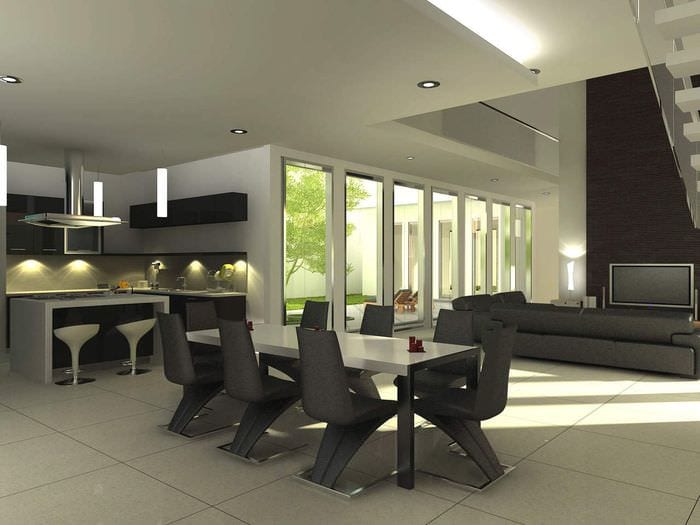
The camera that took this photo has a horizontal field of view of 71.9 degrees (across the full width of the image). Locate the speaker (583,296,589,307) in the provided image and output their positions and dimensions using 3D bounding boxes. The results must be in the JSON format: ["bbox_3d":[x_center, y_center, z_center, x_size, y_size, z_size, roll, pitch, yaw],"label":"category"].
[{"bbox_3d":[4.706,0.796,9.641,0.095,0.164,0.175,-1,-1,15],"label":"speaker"}]

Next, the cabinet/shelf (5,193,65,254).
[{"bbox_3d":[-5.735,-0.683,8.736,1.222,1.101,0.414,2,0,-45],"label":"cabinet/shelf"}]

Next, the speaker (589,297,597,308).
[{"bbox_3d":[4.824,0.797,9.625,0.161,0.204,0.208,0,0,-35],"label":"speaker"}]

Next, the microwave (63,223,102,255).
[{"bbox_3d":[-5.245,-0.455,9.421,0.195,0.510,0.614,0,0,34],"label":"microwave"}]

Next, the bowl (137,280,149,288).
[{"bbox_3d":[-4.336,0.463,10.178,0.188,0.135,0.186,1,3,0],"label":"bowl"}]

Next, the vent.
[{"bbox_3d":[-4.698,-1.211,8.153,1.312,1.216,1.189,1,3,37],"label":"vent"}]

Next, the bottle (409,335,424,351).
[{"bbox_3d":[0.577,0.693,4.164,0.130,0.120,0.105,1,-5,-17],"label":"bottle"}]

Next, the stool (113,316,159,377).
[{"bbox_3d":[-3.154,1.231,7.095,0.585,0.752,0.597,-8,-14,25],"label":"stool"}]

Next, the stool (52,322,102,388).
[{"bbox_3d":[-3.833,1.268,6.750,0.765,0.908,0.720,2,-6,-36],"label":"stool"}]

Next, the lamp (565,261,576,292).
[{"bbox_3d":[4.756,0.289,10.418,0.175,0.629,0.192,1,3,20],"label":"lamp"}]

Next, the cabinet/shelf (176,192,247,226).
[{"bbox_3d":[-2.502,-0.977,8.570,0.219,0.548,1.856,7,10,29],"label":"cabinet/shelf"}]

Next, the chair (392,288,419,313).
[{"bbox_3d":[1.573,1.047,13.274,0.797,0.396,1.133,-6,-7,16],"label":"chair"}]
